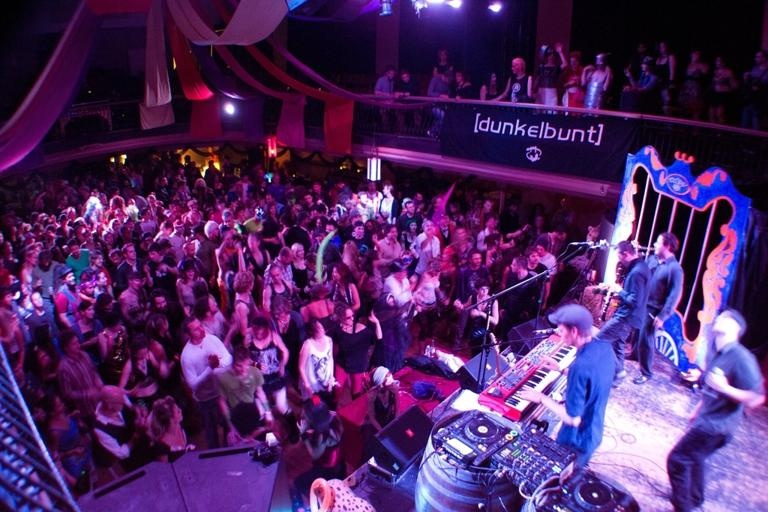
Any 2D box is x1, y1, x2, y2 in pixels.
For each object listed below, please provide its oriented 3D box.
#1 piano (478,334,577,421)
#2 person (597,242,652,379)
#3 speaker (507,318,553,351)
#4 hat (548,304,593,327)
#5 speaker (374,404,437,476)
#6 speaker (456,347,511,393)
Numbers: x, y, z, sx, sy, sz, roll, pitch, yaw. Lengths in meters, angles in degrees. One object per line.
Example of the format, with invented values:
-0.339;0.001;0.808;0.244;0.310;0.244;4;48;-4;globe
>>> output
1.663;1.462;6.758;0.610;0.359;1.918;13;38;38;piano
3.064;0.759;7.351;0.556;1.942;0.615;14;17;43;person
2.116;1.147;8.125;0.502;0.387;0.350;-18;17;-33;speaker
1.902;0.610;5.719;0.316;0.180;0.241;20;8;29;hat
0.260;2.207;6.714;0.740;0.614;0.306;-9;16;-43;speaker
1.412;1.614;7.854;0.793;0.588;0.545;-20;23;-37;speaker
